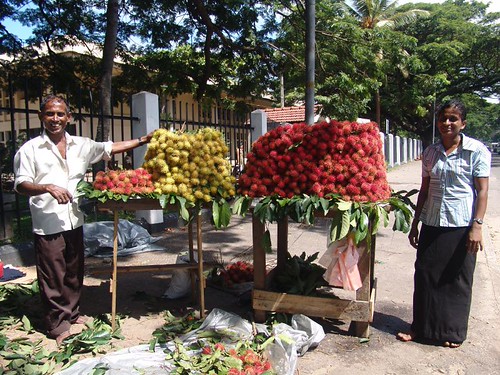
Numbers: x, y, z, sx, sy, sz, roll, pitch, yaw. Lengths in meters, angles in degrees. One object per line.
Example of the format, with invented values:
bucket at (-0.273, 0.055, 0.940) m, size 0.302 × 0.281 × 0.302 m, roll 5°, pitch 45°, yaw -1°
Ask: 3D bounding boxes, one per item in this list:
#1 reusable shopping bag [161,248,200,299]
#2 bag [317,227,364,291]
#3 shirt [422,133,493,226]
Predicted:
reusable shopping bag at (-0.853, 1.076, 5.602) m, size 0.304 × 0.649 × 0.537 m, roll 11°, pitch 18°, yaw -2°
bag at (0.957, 0.759, 4.510) m, size 0.535 × 0.581 × 0.449 m, roll 17°, pitch -13°, yaw -41°
shirt at (2.107, -0.062, 4.496) m, size 0.614 × 0.944 × 0.249 m, roll 3°, pitch 6°, yaw 25°
